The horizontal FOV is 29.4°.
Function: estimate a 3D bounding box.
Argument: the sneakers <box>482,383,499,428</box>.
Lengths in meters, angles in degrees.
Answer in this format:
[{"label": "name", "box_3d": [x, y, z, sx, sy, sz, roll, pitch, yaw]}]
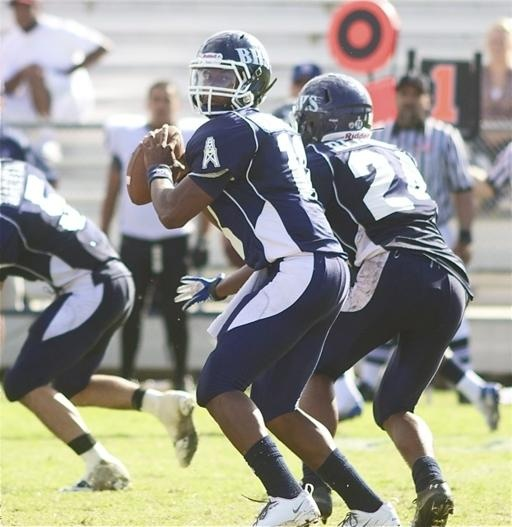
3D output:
[{"label": "sneakers", "box_3d": [1.295, 0.776, 5.372, 0.081, 0.249, 0.105, 0, -4, 10]}]

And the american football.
[{"label": "american football", "box_3d": [-0.389, -0.369, 3.549, 0.098, 0.269, 0.213, 13, -14, 37]}]

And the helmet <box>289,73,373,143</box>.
[{"label": "helmet", "box_3d": [0.296, -0.603, 3.762, 0.230, 0.281, 0.293, -8, 14, -40]}]

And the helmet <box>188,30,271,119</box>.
[{"label": "helmet", "box_3d": [-0.087, -0.676, 3.571, 0.334, 0.258, 0.267, -4, 2, -45]}]

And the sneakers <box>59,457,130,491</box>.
[{"label": "sneakers", "box_3d": [-0.652, 0.840, 3.868, 0.306, 0.139, 0.103, 2, -5, -9]}]

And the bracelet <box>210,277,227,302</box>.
[{"label": "bracelet", "box_3d": [-0.149, 0.096, 3.784, 0.032, 0.087, 0.064, 11, 8, 14]}]

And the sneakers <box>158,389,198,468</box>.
[{"label": "sneakers", "box_3d": [-0.310, 0.684, 4.213, 0.123, 0.366, 0.161, -14, 23, -16]}]

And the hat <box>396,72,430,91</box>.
[{"label": "hat", "box_3d": [0.991, -1.137, 6.079, 0.235, 0.125, 0.340, 3, 13, 4]}]

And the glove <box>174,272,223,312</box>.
[{"label": "glove", "box_3d": [-0.231, 0.091, 3.844, 0.163, 0.165, 0.065, -10, 42, -17]}]

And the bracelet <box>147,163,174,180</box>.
[{"label": "bracelet", "box_3d": [-0.334, -0.319, 3.404, 0.065, 0.048, 0.065, 0, -31, -13]}]
